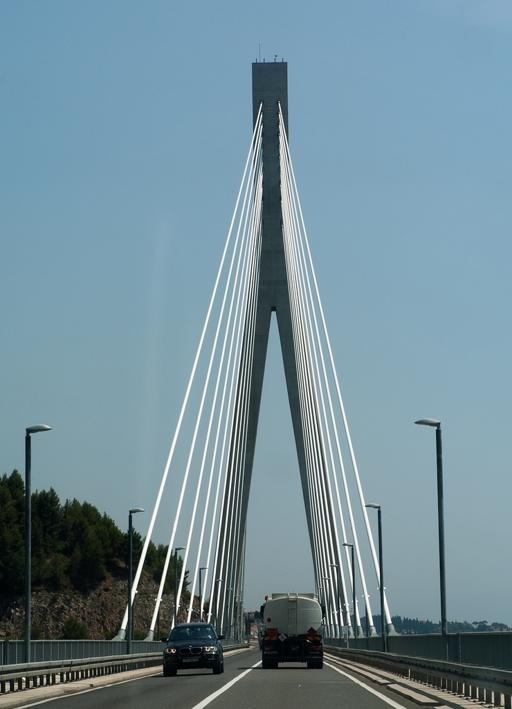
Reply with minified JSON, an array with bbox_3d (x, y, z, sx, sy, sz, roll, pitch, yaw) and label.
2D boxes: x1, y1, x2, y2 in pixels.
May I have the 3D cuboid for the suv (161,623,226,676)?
[{"bbox_3d":[-1.431,6.694,24.506,1.353,1.201,1.819,2,-17,-5],"label":"suv"}]

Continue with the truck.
[{"bbox_3d":[0.974,7.465,29.112,1.622,1.993,1.409,1,-15,0],"label":"truck"}]
